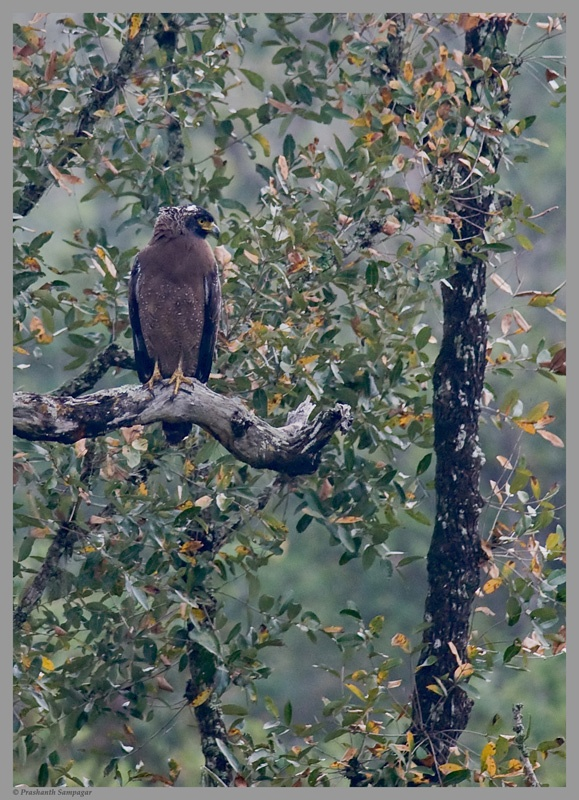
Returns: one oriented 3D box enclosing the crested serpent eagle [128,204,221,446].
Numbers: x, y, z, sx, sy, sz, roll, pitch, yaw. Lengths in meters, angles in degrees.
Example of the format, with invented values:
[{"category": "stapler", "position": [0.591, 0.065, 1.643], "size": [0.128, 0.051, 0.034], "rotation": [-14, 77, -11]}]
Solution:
[{"category": "crested serpent eagle", "position": [-0.412, -0.371, 5.666], "size": [0.311, 0.629, 0.261], "rotation": [6, -9, -6]}]
